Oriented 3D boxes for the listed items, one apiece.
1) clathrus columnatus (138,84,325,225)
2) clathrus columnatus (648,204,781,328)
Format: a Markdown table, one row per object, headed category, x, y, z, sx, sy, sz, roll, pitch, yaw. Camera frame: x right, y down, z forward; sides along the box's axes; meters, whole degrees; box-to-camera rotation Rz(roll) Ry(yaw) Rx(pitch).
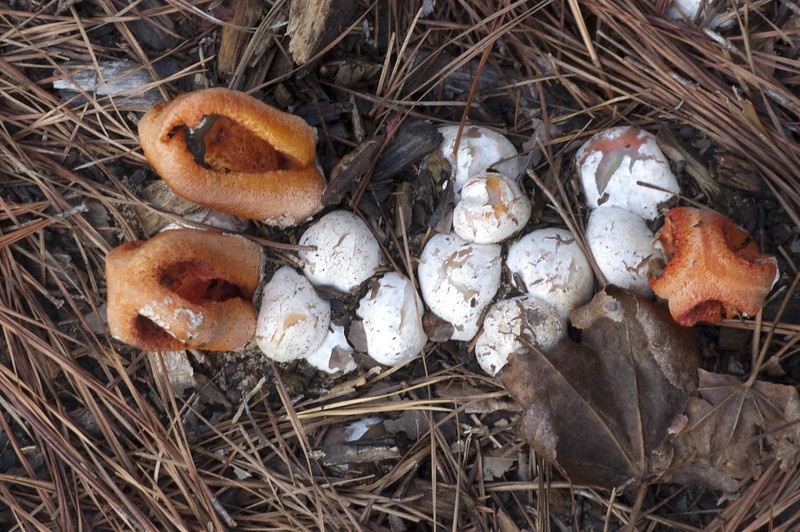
| category | x | y | z | sx | sy | sz | roll | pitch | yaw |
| --- | --- | --- | --- | --- | --- | --- | --- | --- | --- |
| clathrus columnatus | -0.975 | -0.638 | 4.913 | 1.149 | 0.427 | 0.653 | 14 | 82 | -42 |
| clathrus columnatus | 1.894 | 0.018 | 4.919 | 0.703 | 0.272 | 0.681 | 15 | 80 | 3 |
